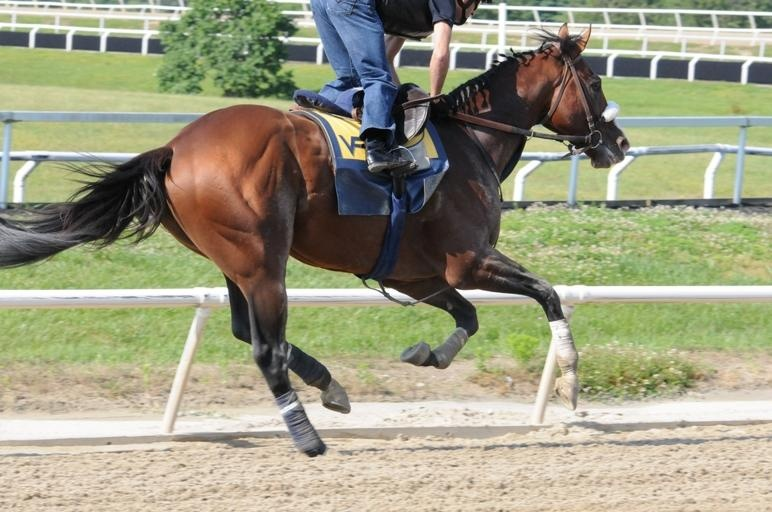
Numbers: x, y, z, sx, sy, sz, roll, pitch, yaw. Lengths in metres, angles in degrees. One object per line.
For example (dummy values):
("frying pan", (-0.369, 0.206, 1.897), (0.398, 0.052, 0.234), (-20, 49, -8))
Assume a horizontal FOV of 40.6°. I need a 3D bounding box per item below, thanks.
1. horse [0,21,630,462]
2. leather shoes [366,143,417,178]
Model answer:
("horse", (-0.231, -0.132, 6.464), (3.772, 2.607, 0.926), (-3, 15, -16))
("leather shoes", (0.036, -0.586, 6.303), (0.290, 0.207, 0.108), (-2, 14, -10))
